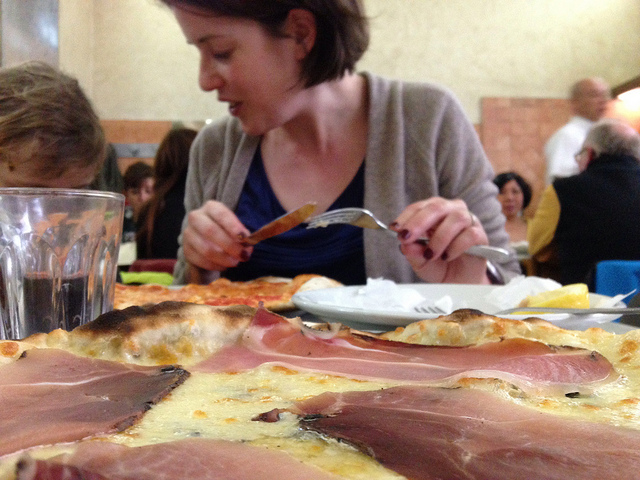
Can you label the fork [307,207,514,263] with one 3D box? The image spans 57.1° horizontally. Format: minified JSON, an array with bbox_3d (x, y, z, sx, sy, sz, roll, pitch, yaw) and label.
[{"bbox_3d":[0.243,-0.009,1.584,0.617,0.078,0.065,9,37,-4],"label":"fork"}]
